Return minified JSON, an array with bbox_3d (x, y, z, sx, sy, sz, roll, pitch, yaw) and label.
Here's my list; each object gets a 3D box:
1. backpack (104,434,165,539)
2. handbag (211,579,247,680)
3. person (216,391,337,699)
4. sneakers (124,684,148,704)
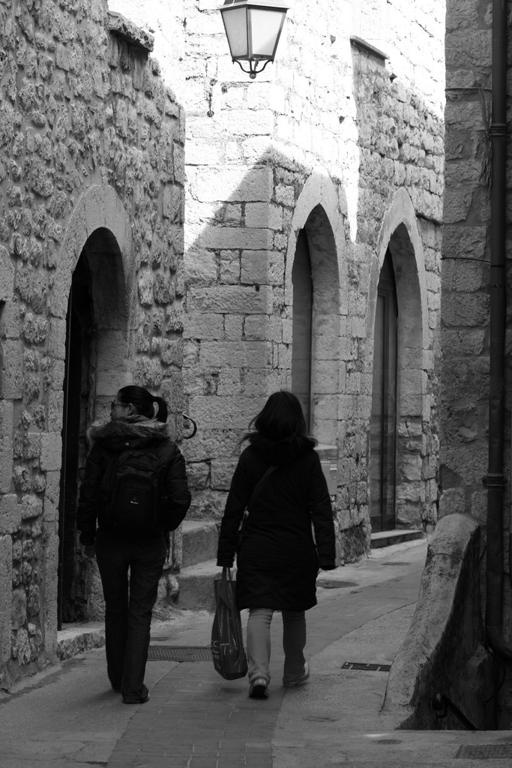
[{"bbox_3d":[-0.486,0.472,4.541,0.259,0.544,0.289,4,-30,-2],"label":"backpack"},{"bbox_3d":[-0.113,1.005,4.520,0.148,0.453,0.175,-1,-3,-4],"label":"handbag"},{"bbox_3d":[0.079,0.666,4.619,0.484,1.272,0.355,0,-3,-26],"label":"person"},{"bbox_3d":[-0.485,1.260,4.407,0.040,0.069,0.124,1,-1,7],"label":"sneakers"}]
